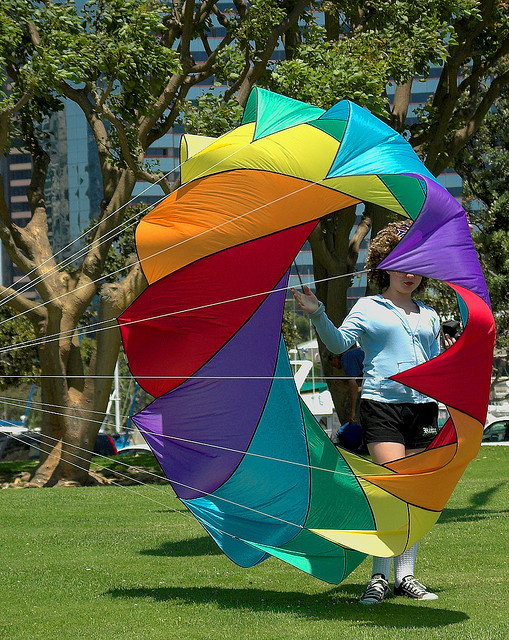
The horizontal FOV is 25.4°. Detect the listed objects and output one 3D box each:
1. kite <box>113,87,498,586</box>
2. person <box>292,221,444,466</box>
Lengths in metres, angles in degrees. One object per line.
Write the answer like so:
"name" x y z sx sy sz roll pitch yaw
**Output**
"kite" 0.557 0.097 8.715 2.926 3.393 0.555 -24 -10 28
"person" 0.807 0.123 7.144 0.885 1.516 0.765 9 10 10
